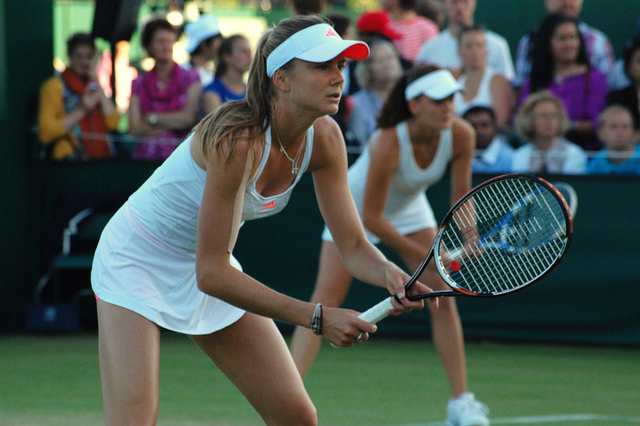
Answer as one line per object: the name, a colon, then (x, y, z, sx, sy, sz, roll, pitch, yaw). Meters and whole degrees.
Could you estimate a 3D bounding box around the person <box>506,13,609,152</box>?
person: (2.142, -1.161, 8.517, 0.758, 1.371, 0.680, -3, -9, 15)

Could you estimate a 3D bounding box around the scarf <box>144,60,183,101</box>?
scarf: (-1.523, -1.269, 9.138, 0.378, 0.364, 0.164, -2, 9, -5)

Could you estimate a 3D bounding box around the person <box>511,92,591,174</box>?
person: (2.050, -0.704, 8.610, 0.774, 0.930, 0.418, 0, 7, 24)

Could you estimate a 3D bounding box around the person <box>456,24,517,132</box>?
person: (1.521, -1.255, 8.906, 0.603, 0.951, 0.330, -1, -7, -20)

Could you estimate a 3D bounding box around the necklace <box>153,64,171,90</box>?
necklace: (-1.528, -1.318, 9.158, 0.141, 0.239, 0.052, 9, 2, 33)
